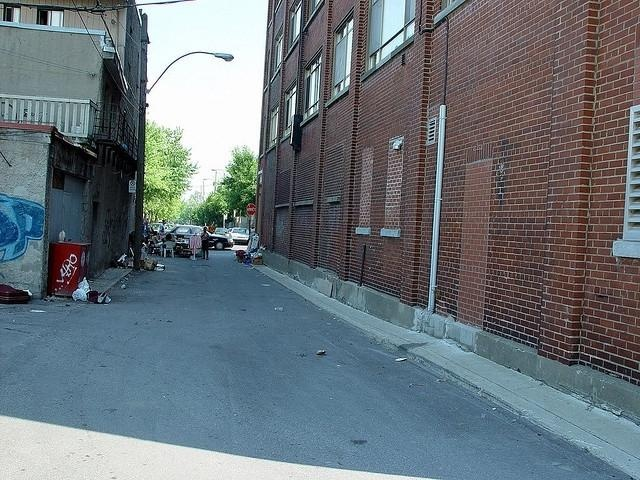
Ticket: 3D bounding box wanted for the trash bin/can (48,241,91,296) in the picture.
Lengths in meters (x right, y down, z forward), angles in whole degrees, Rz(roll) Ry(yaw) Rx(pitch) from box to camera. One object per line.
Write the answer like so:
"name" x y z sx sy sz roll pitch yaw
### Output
"trash bin/can" -6.821 0.807 13.627 0.899 1.437 0.564 3 1 -22
